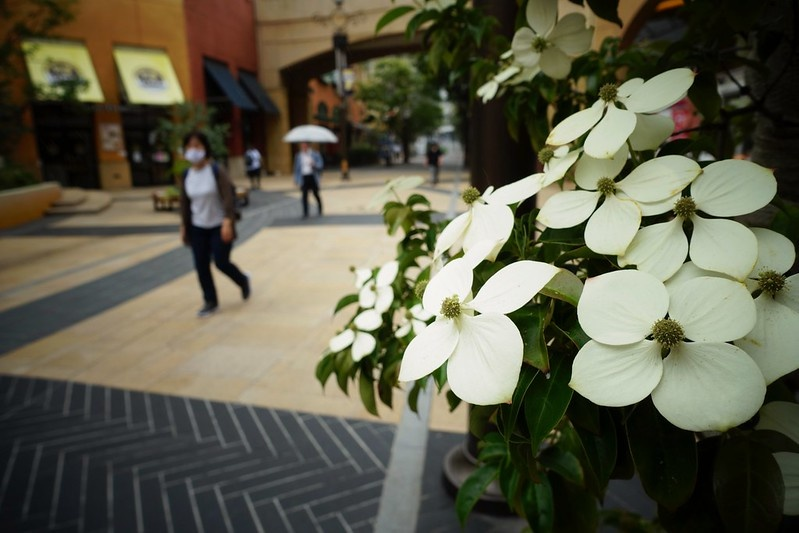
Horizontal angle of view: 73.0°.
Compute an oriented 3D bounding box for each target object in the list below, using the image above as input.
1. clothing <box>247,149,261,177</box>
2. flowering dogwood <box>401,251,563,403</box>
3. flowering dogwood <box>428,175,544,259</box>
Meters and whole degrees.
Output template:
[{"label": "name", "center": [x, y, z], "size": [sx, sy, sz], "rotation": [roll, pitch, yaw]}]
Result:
[{"label": "clothing", "center": [-0.485, -0.341, 1.791], "size": [0.063, 0.090, 0.044], "rotation": [-8, 17, -25]}, {"label": "flowering dogwood", "center": [0.158, 0.113, 1.061], "size": [0.294, 0.274, 0.227], "rotation": [1, 18, 18]}, {"label": "flowering dogwood", "center": [0.175, -0.132, 1.184], "size": [0.070, 0.237, 0.230], "rotation": [46, 23, 15]}]
